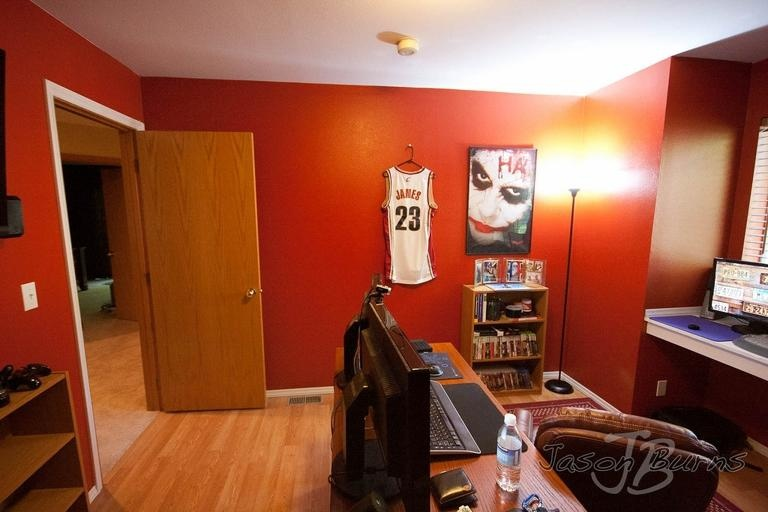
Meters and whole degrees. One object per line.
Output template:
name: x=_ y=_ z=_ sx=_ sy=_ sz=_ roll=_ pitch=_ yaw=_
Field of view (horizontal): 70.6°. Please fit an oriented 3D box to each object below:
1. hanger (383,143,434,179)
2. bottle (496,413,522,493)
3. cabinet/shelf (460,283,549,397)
hanger: x=0.245 y=-0.928 z=5.335 sx=0.516 sy=0.346 sz=0.016 roll=-2 pitch=-9 yaw=-17
bottle: x=0.791 y=1.239 z=3.459 sx=0.152 sy=0.471 sz=0.207 roll=-1 pitch=7 yaw=13
cabinet/shelf: x=1.181 y=0.911 z=5.396 sx=0.710 sy=0.916 sz=0.300 roll=0 pitch=-3 yaw=-10
